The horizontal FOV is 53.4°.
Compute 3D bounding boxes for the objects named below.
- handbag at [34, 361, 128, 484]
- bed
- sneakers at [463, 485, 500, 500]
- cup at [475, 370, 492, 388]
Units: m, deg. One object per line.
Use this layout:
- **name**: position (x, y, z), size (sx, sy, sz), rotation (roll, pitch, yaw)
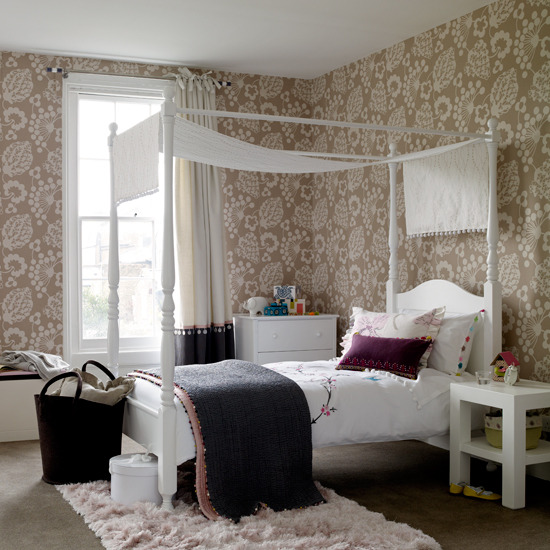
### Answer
- **handbag**: position (-1.008, 0.746, 2.826), size (0.392, 0.586, 0.341), rotation (3, -18, -19)
- **bed**: position (0.154, 0.116, 3.431), size (2.298, 2.668, 1.529), rotation (-2, 5, -15)
- **sneakers**: position (0.983, 1.016, 2.598), size (0.125, 0.047, 0.068), rotation (0, 3, 9)
- **cup**: position (1.084, 0.544, 2.838), size (0.079, 0.087, 0.116), rotation (0, -2, -3)
